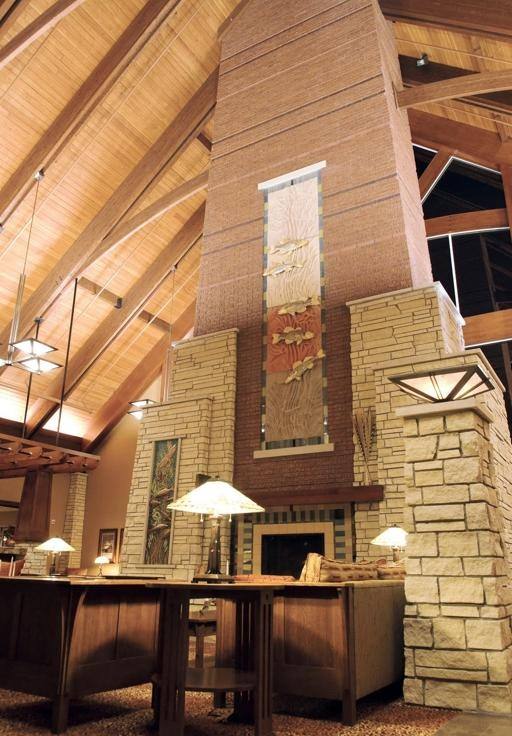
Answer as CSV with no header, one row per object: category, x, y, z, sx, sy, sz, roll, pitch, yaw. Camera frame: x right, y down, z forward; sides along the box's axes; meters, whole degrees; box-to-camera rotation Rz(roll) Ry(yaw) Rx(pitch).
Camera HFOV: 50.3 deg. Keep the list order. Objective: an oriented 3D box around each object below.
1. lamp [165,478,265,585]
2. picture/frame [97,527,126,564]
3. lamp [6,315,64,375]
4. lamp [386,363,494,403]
lamp,-0.225,0.906,3.091,0.580,0.581,0.602,-9,-17,43
picture/frame,-3.600,4.367,13.403,0.224,0.842,0.975,22,-31,-37
lamp,-4.451,-0.510,10.882,0.771,1.017,0.739,24,-51,-33
lamp,1.126,0.109,3.310,0.497,0.131,0.426,-14,-28,30
